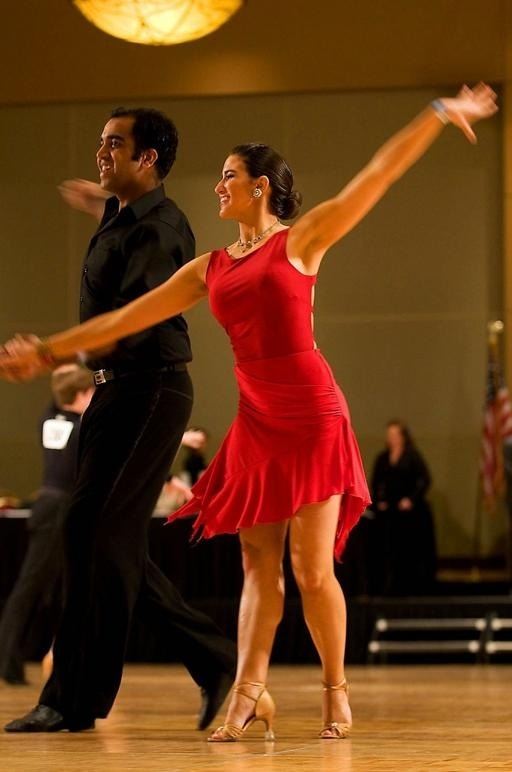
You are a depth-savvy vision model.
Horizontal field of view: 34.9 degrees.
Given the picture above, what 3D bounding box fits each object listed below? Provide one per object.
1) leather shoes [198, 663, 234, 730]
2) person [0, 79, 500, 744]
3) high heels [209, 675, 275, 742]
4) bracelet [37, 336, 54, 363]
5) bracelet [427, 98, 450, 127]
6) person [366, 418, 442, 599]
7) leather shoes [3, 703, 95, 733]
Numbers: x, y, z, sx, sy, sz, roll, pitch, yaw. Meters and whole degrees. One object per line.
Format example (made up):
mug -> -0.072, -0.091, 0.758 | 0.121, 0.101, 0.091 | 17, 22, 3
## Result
leather shoes -> -0.102, 0.757, 1.983 | 0.052, 0.157, 0.057 | 18, -30, -1
person -> 0.018, 0.079, 1.707 | 0.918, 1.301, 0.425 | 3, -3, 23
high heels -> -0.017, 0.658, 1.657 | 0.184, 0.129, 0.084 | 7, -13, -28
bracelet -> -0.444, -0.075, 1.697 | 0.011, 0.043, 0.043 | -21, -5, -8
bracelet -> 0.325, -0.487, 1.444 | 0.020, 0.042, 0.034 | -31, -2, 4
person -> 1.186, 1.086, 6.680 | 0.557, 1.511, 0.479 | -6, 11, 3
leather shoes -> -0.443, 0.732, 1.801 | 0.210, 0.078, 0.065 | 6, -27, -6
